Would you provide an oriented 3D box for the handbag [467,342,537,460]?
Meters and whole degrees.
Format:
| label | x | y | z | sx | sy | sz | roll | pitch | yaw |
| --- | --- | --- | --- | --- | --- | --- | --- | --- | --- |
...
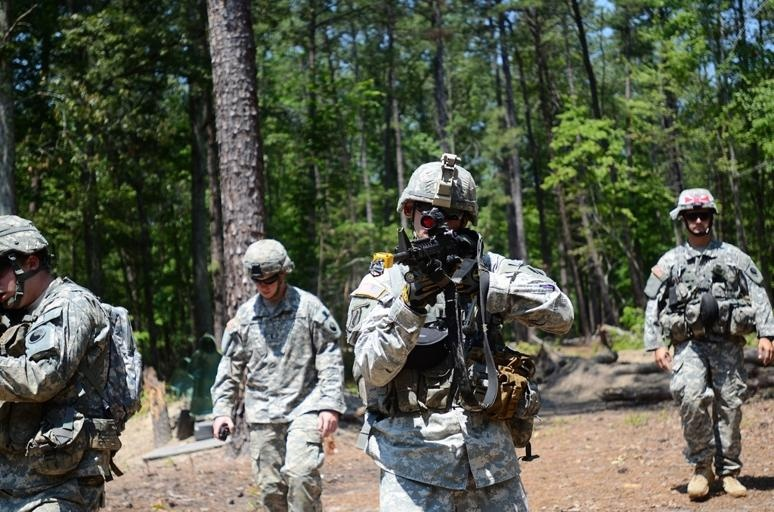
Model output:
| label | x | y | z | sx | sy | sz | roll | pitch | yaw |
| --- | --- | --- | --- | --- | --- | --- | --- | --- | --- |
| handbag | 1.713 | 2.136 | 17.483 | 0.691 | 1.779 | 0.841 | 0 | -2 | -7 |
